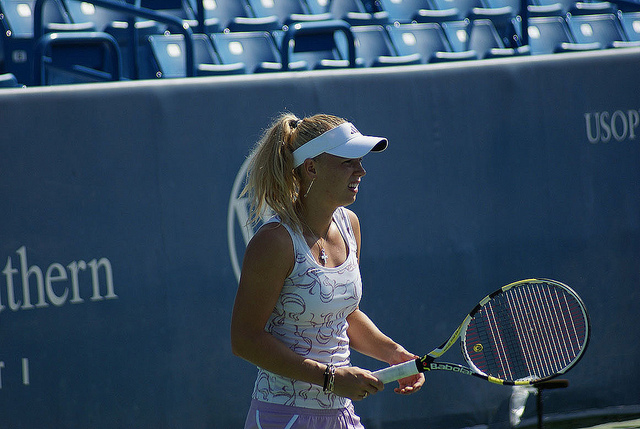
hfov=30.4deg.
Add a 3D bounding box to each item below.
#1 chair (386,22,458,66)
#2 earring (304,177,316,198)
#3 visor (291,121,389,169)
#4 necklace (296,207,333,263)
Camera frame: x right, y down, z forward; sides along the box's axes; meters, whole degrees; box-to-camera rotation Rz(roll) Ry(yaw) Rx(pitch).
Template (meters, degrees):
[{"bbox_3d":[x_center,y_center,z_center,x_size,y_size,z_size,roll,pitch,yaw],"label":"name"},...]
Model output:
[{"bbox_3d":[0.868,-1.486,10.122,0.597,0.434,0.483,-2,-3,3],"label":"chair"},{"bbox_3d":[-0.071,-0.172,7.777,0.031,0.200,0.037,21,3,-2],"label":"earring"},{"bbox_3d":[0.126,-0.456,7.787,0.497,0.180,0.320,-21,-4,24],"label":"visor"},{"bbox_3d":[-0.037,0.137,7.746,0.115,0.428,0.020,-16,-19,-16],"label":"necklace"}]
